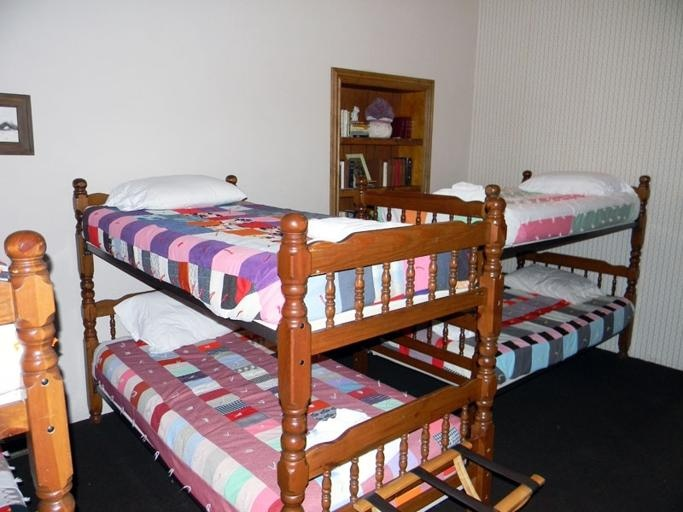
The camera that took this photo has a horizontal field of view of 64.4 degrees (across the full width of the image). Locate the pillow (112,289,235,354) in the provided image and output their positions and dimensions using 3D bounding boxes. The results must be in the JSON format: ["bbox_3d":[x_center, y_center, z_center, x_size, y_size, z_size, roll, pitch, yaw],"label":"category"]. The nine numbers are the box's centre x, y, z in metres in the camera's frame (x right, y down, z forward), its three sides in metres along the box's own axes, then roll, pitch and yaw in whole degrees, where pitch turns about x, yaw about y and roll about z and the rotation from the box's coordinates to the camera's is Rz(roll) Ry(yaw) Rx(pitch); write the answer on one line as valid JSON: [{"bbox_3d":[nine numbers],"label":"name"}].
[{"bbox_3d":[-1.172,0.460,3.727,0.537,0.129,0.504,2,28,-42],"label":"pillow"}]

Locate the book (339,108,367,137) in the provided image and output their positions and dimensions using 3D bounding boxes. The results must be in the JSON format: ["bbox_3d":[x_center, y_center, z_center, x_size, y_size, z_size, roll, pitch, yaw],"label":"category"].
[{"bbox_3d":[0.085,-1.199,4.858,0.125,0.270,0.385,9,15,36],"label":"book"}]

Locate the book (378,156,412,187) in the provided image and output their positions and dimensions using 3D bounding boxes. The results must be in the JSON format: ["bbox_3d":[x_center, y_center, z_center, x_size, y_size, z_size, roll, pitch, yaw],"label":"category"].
[{"bbox_3d":[0.544,-0.774,5.314,0.305,0.359,0.399,-5,8,-24],"label":"book"}]

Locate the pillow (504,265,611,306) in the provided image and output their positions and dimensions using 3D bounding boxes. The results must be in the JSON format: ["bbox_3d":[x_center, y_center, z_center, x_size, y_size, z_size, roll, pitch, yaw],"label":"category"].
[{"bbox_3d":[1.866,0.239,4.871,0.430,0.141,0.572,-11,19,-41],"label":"pillow"}]

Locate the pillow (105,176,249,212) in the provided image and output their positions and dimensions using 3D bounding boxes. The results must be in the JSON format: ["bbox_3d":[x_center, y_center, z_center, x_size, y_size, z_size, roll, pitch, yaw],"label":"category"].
[{"bbox_3d":[-1.088,-0.426,3.668,0.663,0.140,0.351,-4,14,-34],"label":"pillow"}]
